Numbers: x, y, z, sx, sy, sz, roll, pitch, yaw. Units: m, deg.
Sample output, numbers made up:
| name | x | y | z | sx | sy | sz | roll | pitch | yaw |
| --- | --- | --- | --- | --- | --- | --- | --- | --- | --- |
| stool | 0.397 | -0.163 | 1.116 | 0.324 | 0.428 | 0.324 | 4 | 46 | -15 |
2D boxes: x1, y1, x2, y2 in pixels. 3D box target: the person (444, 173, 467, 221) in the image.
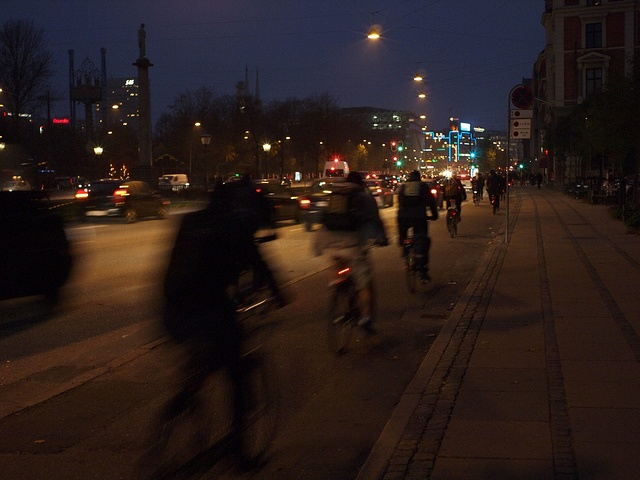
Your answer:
| name | x | y | z | sx | sy | sz | roll | pitch | yaw |
| --- | --- | --- | --- | --- | --- | --- | --- | --- | --- |
| person | 4.358 | -1.461 | 21.451 | 0.909 | 1.563 | 0.650 | 2 | 3 | -43 |

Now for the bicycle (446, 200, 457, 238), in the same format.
| name | x | y | z | sx | sy | sz | roll | pitch | yaw |
| --- | --- | --- | --- | --- | --- | --- | --- | --- | --- |
| bicycle | 4.190 | -0.692 | 20.679 | 0.351 | 1.169 | 0.963 | 0 | 5 | 12 |

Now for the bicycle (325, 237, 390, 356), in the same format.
| name | x | y | z | sx | sy | sz | roll | pitch | yaw |
| --- | --- | --- | --- | --- | --- | --- | --- | --- | --- |
| bicycle | 0.337 | 0.733 | 8.170 | 0.246 | 1.164 | 0.921 | 2 | 5 | 35 |

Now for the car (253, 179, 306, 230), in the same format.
| name | x | y | z | sx | sy | sz | roll | pitch | yaw |
| --- | --- | --- | --- | --- | --- | --- | --- | --- | --- |
| car | -1.302 | -1.401 | 23.262 | 1.307 | 1.434 | 2.706 | 2 | 7 | 24 |

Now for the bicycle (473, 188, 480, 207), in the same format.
| name | x | y | z | sx | sy | sz | roll | pitch | yaw |
| --- | --- | --- | --- | --- | --- | --- | --- | --- | --- |
| bicycle | 9.222 | -2.453 | 38.684 | 0.451 | 0.691 | 1.049 | 1 | 13 | 15 |

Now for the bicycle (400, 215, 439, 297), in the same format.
| name | x | y | z | sx | sy | sz | roll | pitch | yaw |
| --- | --- | --- | --- | --- | --- | --- | --- | --- | --- |
| bicycle | 1.652 | 0.264 | 11.260 | 0.494 | 0.742 | 1.169 | 0 | 6 | 17 |
